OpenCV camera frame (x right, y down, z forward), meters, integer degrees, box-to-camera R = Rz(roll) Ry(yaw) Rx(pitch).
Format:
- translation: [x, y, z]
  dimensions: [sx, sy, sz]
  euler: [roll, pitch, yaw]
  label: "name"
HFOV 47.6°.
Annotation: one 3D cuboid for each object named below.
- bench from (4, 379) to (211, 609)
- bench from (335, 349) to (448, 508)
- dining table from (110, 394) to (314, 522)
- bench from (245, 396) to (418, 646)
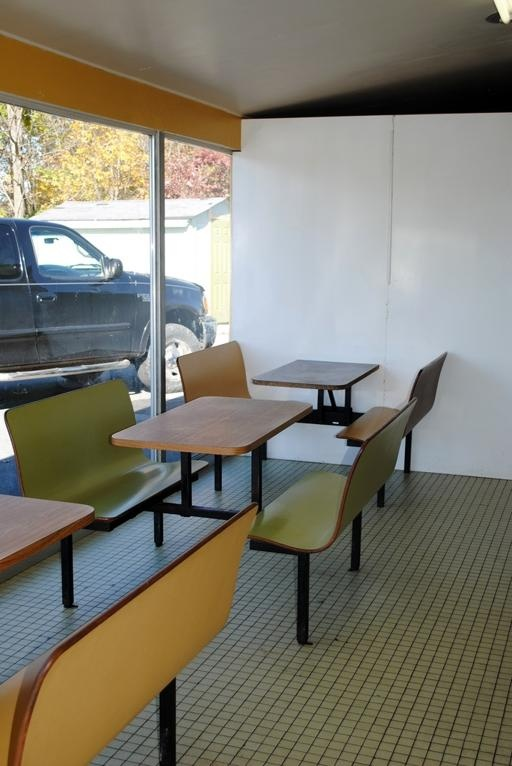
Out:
- translation: [-0.679, 0.351, 2.675]
  dimensions: [0.626, 0.554, 1.091]
  euler: [4, 9, 21]
  label: "bench"
- translation: [0.906, 0.321, 3.929]
  dimensions: [0.575, 0.961, 1.299]
  euler: [3, 8, 22]
  label: "bench"
- translation: [-0.165, 0.419, 2.830]
  dimensions: [0.694, 0.491, 1.121]
  euler: [2, 7, 16]
  label: "dining table"
- translation: [0.352, 0.579, 2.598]
  dimensions: [0.524, 0.895, 1.107]
  euler: [4, 7, 21]
  label: "bench"
